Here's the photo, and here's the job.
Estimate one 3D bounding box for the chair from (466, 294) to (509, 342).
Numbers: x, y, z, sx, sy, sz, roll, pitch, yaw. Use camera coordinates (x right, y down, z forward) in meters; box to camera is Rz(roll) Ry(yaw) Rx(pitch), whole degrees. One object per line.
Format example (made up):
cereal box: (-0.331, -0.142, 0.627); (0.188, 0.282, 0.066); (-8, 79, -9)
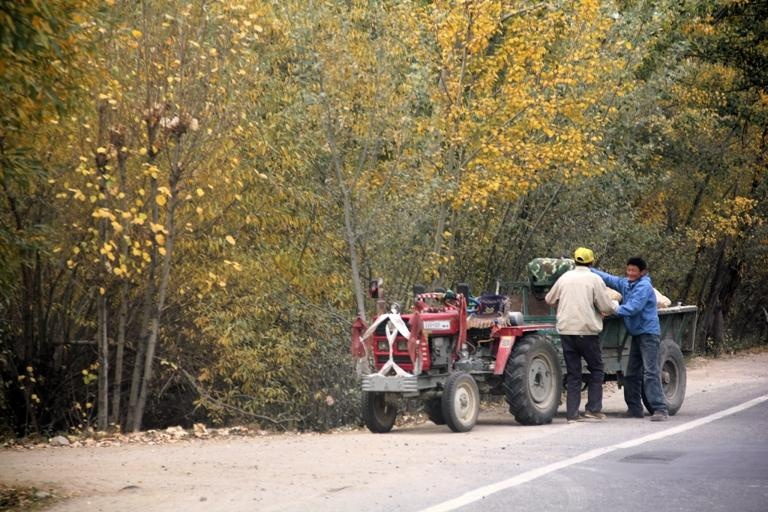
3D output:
chair: (1.899, 1.053, 19.457); (0.654, 0.836, 0.864); (-4, -11, 24)

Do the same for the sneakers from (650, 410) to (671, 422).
sneakers: (4.835, 2.760, 18.609); (0.137, 0.148, 0.333); (1, 2, 33)

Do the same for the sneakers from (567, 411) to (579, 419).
sneakers: (3.352, 2.785, 18.823); (0.239, 0.142, 0.271); (-3, -7, 8)

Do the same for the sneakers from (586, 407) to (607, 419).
sneakers: (3.791, 2.763, 18.951); (0.392, 0.204, 0.152); (5, -1, 5)

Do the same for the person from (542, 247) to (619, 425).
person: (3.523, 1.344, 18.939); (1.053, 3.033, 0.525); (-3, -5, 10)
